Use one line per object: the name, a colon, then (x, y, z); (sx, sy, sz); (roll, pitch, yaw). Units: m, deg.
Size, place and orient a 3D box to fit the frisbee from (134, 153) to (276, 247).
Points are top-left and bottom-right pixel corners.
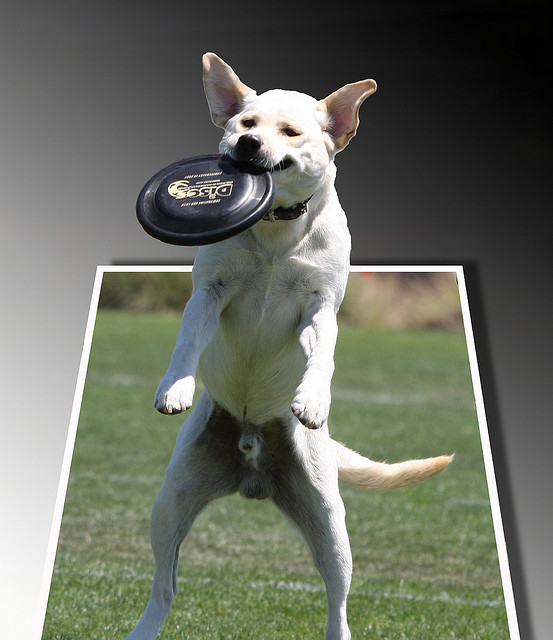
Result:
frisbee: (-0.193, -0.311, 2.612); (0.372, 0.314, 0.056); (-9, 70, 8)
